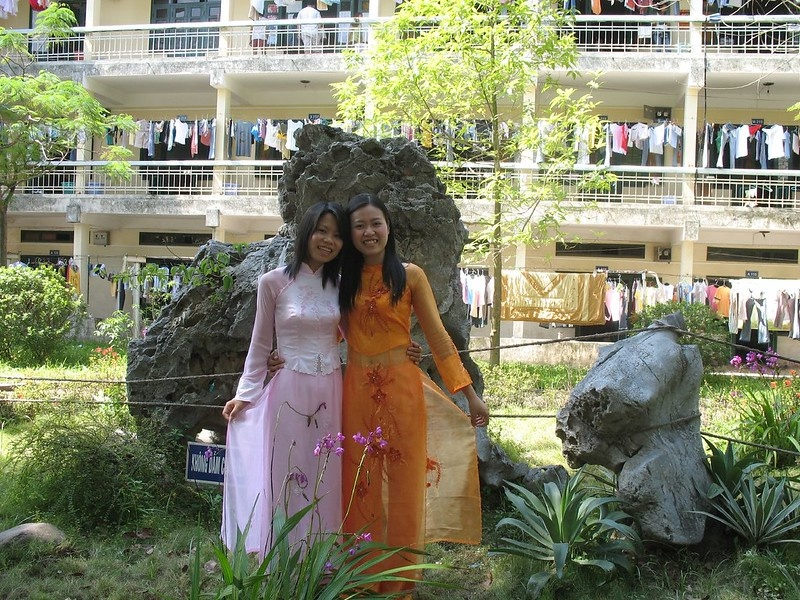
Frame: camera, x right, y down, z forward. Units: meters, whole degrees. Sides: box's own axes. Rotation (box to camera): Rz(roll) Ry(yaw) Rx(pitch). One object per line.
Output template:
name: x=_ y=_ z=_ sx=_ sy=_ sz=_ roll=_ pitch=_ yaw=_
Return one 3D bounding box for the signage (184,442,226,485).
signage: x=-1.853 y=1.553 z=8.409 sx=0.042 sy=0.397 sz=0.512 roll=-19 pitch=-22 yaw=22

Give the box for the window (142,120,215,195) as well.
window: x=-4.689 y=-3.008 z=18.681 sx=1.575 sy=1.450 sz=0.229 roll=-4 pitch=-14 yaw=25

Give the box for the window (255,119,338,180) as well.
window: x=-2.186 y=-3.309 z=18.032 sx=1.463 sy=0.346 sz=1.053 roll=-4 pitch=-30 yaw=-9

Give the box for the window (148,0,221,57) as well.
window: x=-4.705 y=-5.962 z=19.369 sx=1.557 sy=1.684 sz=0.167 roll=0 pitch=-6 yaw=3
